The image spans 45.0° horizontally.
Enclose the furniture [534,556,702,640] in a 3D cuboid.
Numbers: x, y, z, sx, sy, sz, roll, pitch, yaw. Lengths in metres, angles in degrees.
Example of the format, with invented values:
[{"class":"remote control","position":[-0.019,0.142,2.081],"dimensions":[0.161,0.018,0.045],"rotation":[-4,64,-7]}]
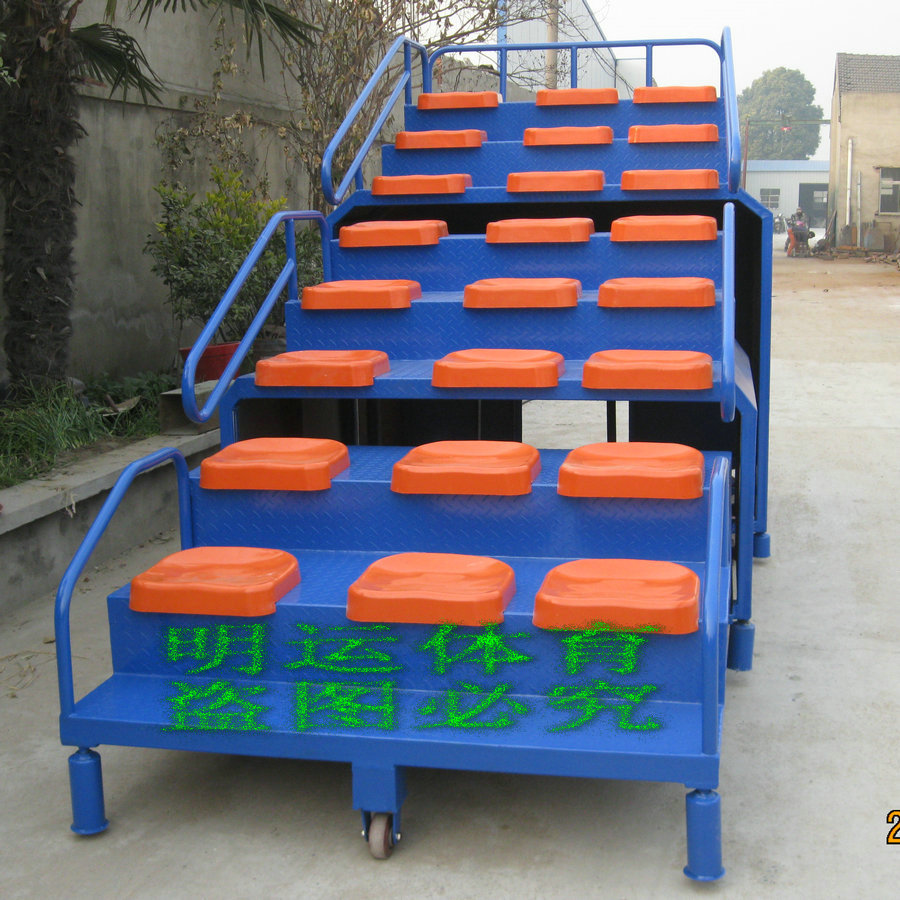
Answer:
[{"class":"furniture","position":[0.471,0.412,3.033],"dimensions":[0.446,0.129,0.317],"rotation":[2,13,12]}]

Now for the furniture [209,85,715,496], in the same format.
[{"class":"furniture","position":[0.198,-0.968,5.204],"dimensions":[1.741,1.644,3.037],"rotation":[4,14,8]}]

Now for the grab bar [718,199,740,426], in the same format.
[{"class":"grab bar","position":[0.931,-0.451,3.601],"dimensions":[0.048,0.800,0.051],"rotation":[-3,-16,27]}]

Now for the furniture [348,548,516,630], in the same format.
[{"class":"furniture","position":[-0.053,0.405,3.126],"dimensions":[0.463,0.123,0.281],"rotation":[0,13,4]}]

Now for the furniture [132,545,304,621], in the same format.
[{"class":"furniture","position":[-0.704,0.399,3.284],"dimensions":[0.463,0.128,0.336],"rotation":[2,13,13]}]
